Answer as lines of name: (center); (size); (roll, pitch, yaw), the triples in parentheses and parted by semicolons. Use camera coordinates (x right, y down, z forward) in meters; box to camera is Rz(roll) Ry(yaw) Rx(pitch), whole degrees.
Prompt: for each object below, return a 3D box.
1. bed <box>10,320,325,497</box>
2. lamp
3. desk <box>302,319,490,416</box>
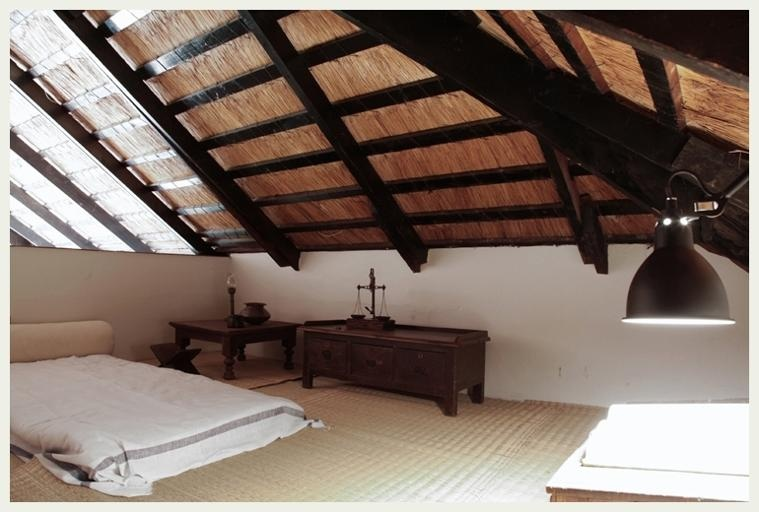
bed: (-2.430, 1.228, 4.056); (2.342, 0.431, 1.423); (1, 0, 41)
lamp: (1.480, -0.055, 2.297); (0.404, 0.743, 0.592); (5, 4, 37)
desk: (0.114, 1.126, 5.202); (1.810, 0.812, 0.643); (3, 3, 29)
